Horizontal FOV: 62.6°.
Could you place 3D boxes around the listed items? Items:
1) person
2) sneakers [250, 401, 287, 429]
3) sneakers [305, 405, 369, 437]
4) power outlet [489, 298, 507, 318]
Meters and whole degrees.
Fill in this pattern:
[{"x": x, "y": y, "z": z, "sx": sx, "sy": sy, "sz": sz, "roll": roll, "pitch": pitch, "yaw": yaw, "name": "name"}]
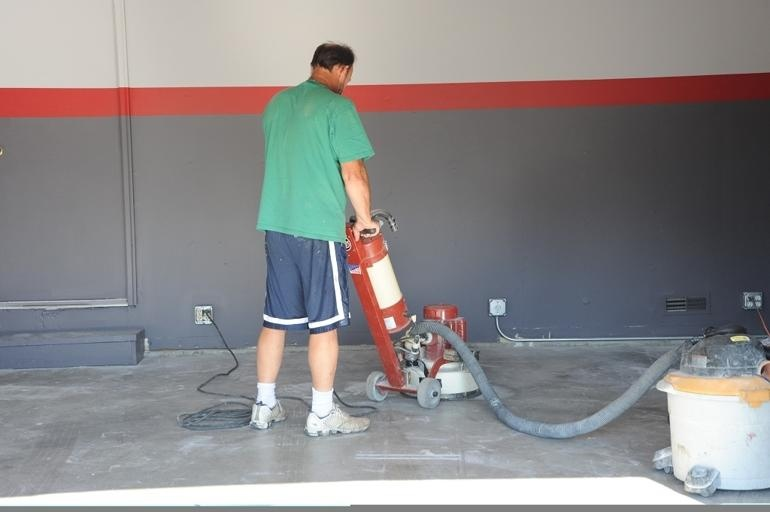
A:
[{"x": -0.424, "y": -0.119, "z": 3.767, "sx": 0.742, "sy": 2.299, "sz": 0.536, "roll": 0, "pitch": 9, "yaw": 6, "name": "person"}, {"x": -0.697, "y": 0.965, "z": 3.859, "sx": 0.101, "sy": 0.116, "sz": 0.262, "roll": 1, "pitch": 4, "yaw": 23, "name": "sneakers"}, {"x": -0.282, "y": 0.990, "z": 3.792, "sx": 0.418, "sy": 0.174, "sz": 0.150, "roll": -1, "pitch": -2, "yaw": -13, "name": "sneakers"}, {"x": 1.007, "y": 0.461, "z": 5.667, "sx": 0.169, "sy": 0.174, "sz": 0.035, "roll": -3, "pitch": 9, "yaw": -10, "name": "power outlet"}]
